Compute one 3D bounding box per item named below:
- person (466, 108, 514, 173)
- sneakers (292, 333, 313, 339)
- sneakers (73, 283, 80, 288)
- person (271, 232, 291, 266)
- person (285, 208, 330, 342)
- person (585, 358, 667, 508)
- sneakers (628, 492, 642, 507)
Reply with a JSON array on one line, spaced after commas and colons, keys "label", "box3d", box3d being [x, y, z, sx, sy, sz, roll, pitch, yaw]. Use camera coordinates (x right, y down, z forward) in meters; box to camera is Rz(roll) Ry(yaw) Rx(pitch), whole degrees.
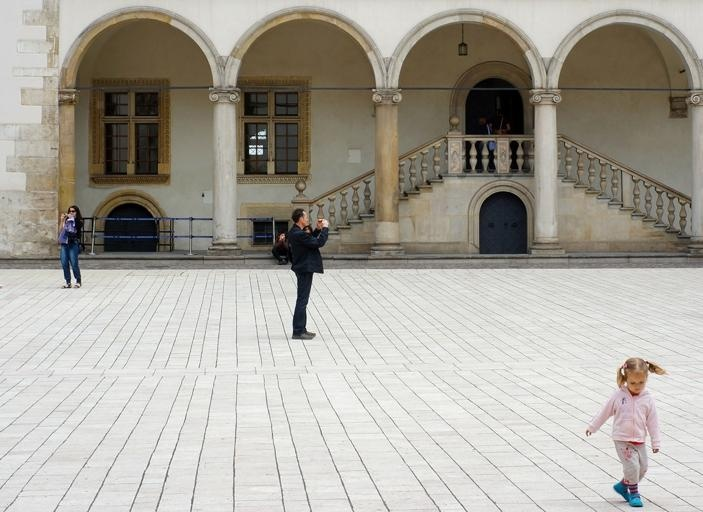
[{"label": "person", "box3d": [3.427, -2.764, 26.729, 0.832, 1.278, 3.346, 3, 14, 9]}, {"label": "sneakers", "box3d": [-0.697, 1.196, 16.157, 0.211, 0.080, 0.112, -3, 1, 3]}, {"label": "sneakers", "box3d": [-5.142, 0.564, 20.651, 0.094, 0.074, 0.232, -1, 0, -7]}, {"label": "person", "box3d": [-1.531, -0.160, 24.499, 0.452, 0.770, 0.810, -2, -2, -7]}, {"label": "person", "box3d": [-0.633, 0.281, 16.427, 0.541, 1.883, 1.000, 0, 14, -2]}, {"label": "person", "box3d": [2.828, 1.765, 11.205, 0.640, 1.440, 0.523, 8, 15, 26]}, {"label": "sneakers", "box3d": [2.895, 2.470, 11.108, 0.158, 0.121, 0.096, -2, 14, -14]}]
